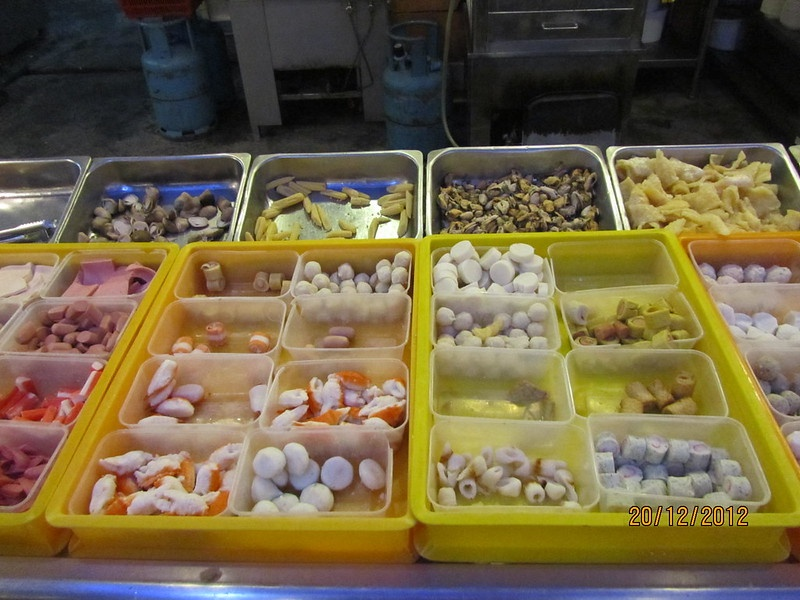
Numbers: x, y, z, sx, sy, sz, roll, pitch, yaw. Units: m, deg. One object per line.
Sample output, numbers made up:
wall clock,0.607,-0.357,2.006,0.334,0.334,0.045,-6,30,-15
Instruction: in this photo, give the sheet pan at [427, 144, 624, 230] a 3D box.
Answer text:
sheet pan,0.526,-0.536,2.762,0.658,0.201,0.436,0,73,4

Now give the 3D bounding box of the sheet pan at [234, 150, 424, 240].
sheet pan,-0.286,-0.480,2.749,0.610,0.132,0.557,-1,46,2
